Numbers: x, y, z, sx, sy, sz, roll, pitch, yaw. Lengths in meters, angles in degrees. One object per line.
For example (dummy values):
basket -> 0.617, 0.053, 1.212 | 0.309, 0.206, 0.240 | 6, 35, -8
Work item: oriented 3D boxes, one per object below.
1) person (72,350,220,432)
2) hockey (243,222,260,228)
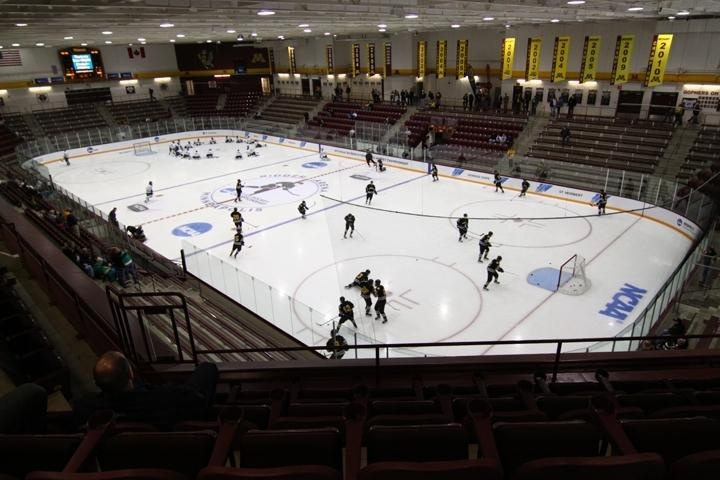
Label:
person -> -2.620, 1.805, 6.199 | 1.604, 0.867, 0.588 | -3, 26, -5
hockey -> -5.354, -0.718, 24.831 | 0.797, 0.017, 0.246 | 1, 62, 30
